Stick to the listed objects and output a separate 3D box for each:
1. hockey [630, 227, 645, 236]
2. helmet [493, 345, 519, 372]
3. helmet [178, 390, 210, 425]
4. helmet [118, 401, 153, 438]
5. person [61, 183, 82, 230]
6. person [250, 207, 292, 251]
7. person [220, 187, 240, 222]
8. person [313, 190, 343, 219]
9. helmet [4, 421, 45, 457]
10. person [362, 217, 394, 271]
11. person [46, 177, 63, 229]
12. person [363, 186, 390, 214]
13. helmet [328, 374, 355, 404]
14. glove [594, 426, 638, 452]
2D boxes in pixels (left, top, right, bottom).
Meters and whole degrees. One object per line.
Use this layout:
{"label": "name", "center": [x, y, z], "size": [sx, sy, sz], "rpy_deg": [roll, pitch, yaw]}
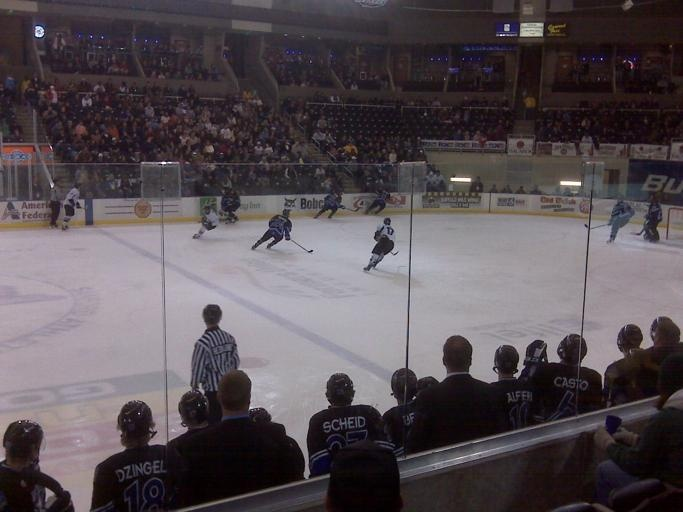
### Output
{"label": "hockey", "center": [3.309, -0.274, 7.229], "size": [0.205, 0.079, 0.135], "rpy_deg": [-6, 3, 20]}
{"label": "helmet", "center": [0.978, 0.620, 3.892], "size": [0.134, 0.169, 0.166], "rpy_deg": [3, 41, 7]}
{"label": "helmet", "center": [-0.821, 0.835, 3.653], "size": [0.153, 0.193, 0.197], "rpy_deg": [-4, 16, -16]}
{"label": "helmet", "center": [-1.030, 0.805, 3.246], "size": [0.162, 0.161, 0.166], "rpy_deg": [4, 26, -13]}
{"label": "person", "center": [-5.872, -1.064, 13.996], "size": [0.420, 0.931, 0.763], "rpy_deg": [-4, 10, -21]}
{"label": "person", "center": [-1.237, -0.464, 11.973], "size": [0.690, 0.810, 1.343], "rpy_deg": [-5, 11, -24]}
{"label": "person", "center": [-2.161, -0.970, 12.533], "size": [0.426, 0.712, 0.293], "rpy_deg": [-7, 11, -31]}
{"label": "person", "center": [-0.300, -1.141, 14.616], "size": [0.746, 0.606, 0.270], "rpy_deg": [-6, 11, -30]}
{"label": "helmet", "center": [-1.564, 0.872, 3.144], "size": [0.143, 0.174, 0.181], "rpy_deg": [6, 18, -6]}
{"label": "person", "center": [0.637, -0.208, 11.038], "size": [0.507, 0.968, 1.144], "rpy_deg": [0, 10, 1]}
{"label": "person", "center": [-6.364, -1.166, 14.310], "size": [0.293, 1.011, 0.752], "rpy_deg": [-5, 10, -22]}
{"label": "person", "center": [0.906, -1.297, 15.586], "size": [0.422, 0.648, 1.452], "rpy_deg": [-3, 10, -12]}
{"label": "helmet", "center": [-0.014, 0.753, 3.623], "size": [0.137, 0.163, 0.167], "rpy_deg": [3, -13, -2]}
{"label": "glove", "center": [1.402, 0.927, 3.283], "size": [0.177, 0.067, 0.134], "rpy_deg": [-2, 1, 13]}
